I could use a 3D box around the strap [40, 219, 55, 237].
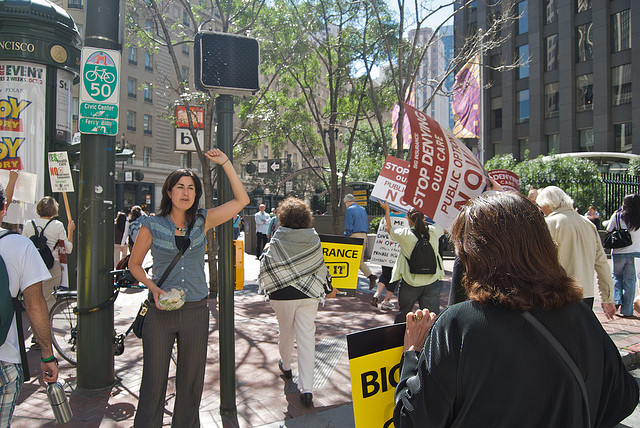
[{"bbox_3d":[-3.937,0.201,8.206,0.104,0.191,0.066,18,-16,31],"label":"strap"}]

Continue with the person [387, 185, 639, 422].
[{"bbox_3d":[1.375,0.690,4.046,1.615,1.646,0.477,2,7,10],"label":"person"}]

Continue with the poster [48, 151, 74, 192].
[{"bbox_3d":[-4.022,-0.654,8.849,0.254,0.622,0.571,-6,10,-45],"label":"poster"}]

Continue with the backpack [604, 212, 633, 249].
[{"bbox_3d":[5.234,0.302,10.082,0.542,0.614,0.323,0,7,-7],"label":"backpack"}]

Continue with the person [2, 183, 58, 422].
[{"bbox_3d":[-2.574,0.928,4.928,0.313,1.570,0.464,7,9,44],"label":"person"}]

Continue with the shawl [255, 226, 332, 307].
[{"bbox_3d":[-0.334,0.614,7.041,0.809,0.849,0.317,1,7,2],"label":"shawl"}]

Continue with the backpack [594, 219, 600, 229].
[{"bbox_3d":[8.918,0.293,18.289,0.100,0.418,0.428,6,4,11],"label":"backpack"}]

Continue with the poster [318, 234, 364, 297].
[{"bbox_3d":[0.392,0.966,10.526,0.081,1.041,0.958,5,-4,-43],"label":"poster"}]

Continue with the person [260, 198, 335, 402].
[{"bbox_3d":[-0.313,0.987,7.153,0.892,2.322,1.146,2,7,9],"label":"person"}]

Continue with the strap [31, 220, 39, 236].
[{"bbox_3d":[-4.095,0.205,8.166,0.026,0.228,0.033,-31,-14,27],"label":"strap"}]

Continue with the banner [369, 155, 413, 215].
[{"bbox_3d":[1.455,-0.617,11.043,0.932,1.003,0.223,25,-3,1],"label":"banner"}]

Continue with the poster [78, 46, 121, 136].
[{"bbox_3d":[-2.642,-1.467,6.822,0.469,1.044,0.257,-2,7,-23],"label":"poster"}]

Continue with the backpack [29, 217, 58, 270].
[{"bbox_3d":[-3.950,0.411,8.150,0.381,0.690,0.355,-21,37,-39],"label":"backpack"}]

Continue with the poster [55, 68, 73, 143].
[{"bbox_3d":[-4.877,-2.060,10.875,0.233,1.334,0.683,-1,7,-13],"label":"poster"}]

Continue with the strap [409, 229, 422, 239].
[{"bbox_3d":[1.408,0.294,8.341,0.105,0.124,0.085,-11,-7,14],"label":"strap"}]

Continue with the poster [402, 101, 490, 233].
[{"bbox_3d":[1.345,-0.515,6.258,0.777,1.238,0.320,2,7,11],"label":"poster"}]

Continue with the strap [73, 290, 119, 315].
[{"bbox_3d":[-2.670,1.021,6.805,0.275,0.061,0.281,-20,2,10],"label":"strap"}]
